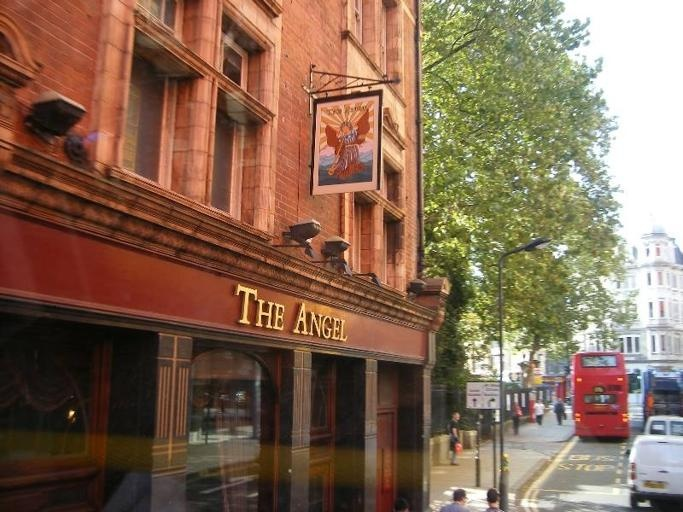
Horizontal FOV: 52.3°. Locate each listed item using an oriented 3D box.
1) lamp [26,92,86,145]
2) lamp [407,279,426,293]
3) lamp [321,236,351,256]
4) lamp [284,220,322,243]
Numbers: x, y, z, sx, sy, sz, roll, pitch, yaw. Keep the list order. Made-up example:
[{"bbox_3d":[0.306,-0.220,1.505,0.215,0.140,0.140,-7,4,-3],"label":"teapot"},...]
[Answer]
[{"bbox_3d":[-2.925,-1.488,7.165,0.366,0.419,0.441,7,-8,17],"label":"lamp"},{"bbox_3d":[1.773,0.700,16.173,0.355,0.249,0.346,4,-7,-35],"label":"lamp"},{"bbox_3d":[-0.107,-0.159,12.286,0.381,0.282,0.399,2,-9,21],"label":"lamp"},{"bbox_3d":[-0.585,-0.394,11.054,0.491,0.275,0.378,-2,-5,28],"label":"lamp"}]
